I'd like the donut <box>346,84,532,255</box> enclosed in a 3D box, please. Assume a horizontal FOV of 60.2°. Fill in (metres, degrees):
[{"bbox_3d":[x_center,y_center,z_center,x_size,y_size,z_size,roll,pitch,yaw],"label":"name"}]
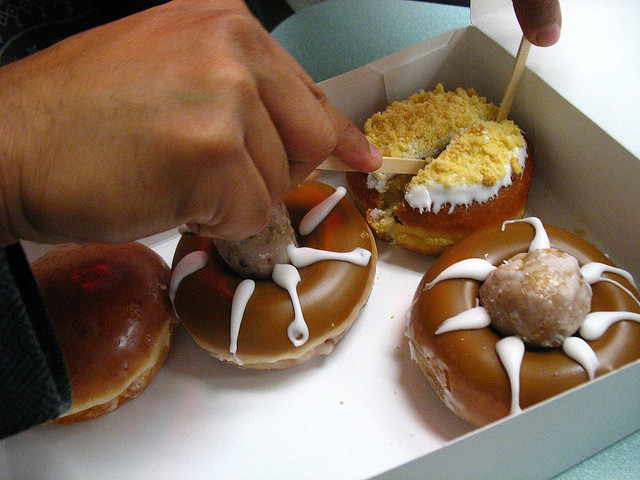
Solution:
[{"bbox_3d":[0.424,-0.143,1.995,0.592,0.214,0.537,-39,69,-7],"label":"donut"}]
